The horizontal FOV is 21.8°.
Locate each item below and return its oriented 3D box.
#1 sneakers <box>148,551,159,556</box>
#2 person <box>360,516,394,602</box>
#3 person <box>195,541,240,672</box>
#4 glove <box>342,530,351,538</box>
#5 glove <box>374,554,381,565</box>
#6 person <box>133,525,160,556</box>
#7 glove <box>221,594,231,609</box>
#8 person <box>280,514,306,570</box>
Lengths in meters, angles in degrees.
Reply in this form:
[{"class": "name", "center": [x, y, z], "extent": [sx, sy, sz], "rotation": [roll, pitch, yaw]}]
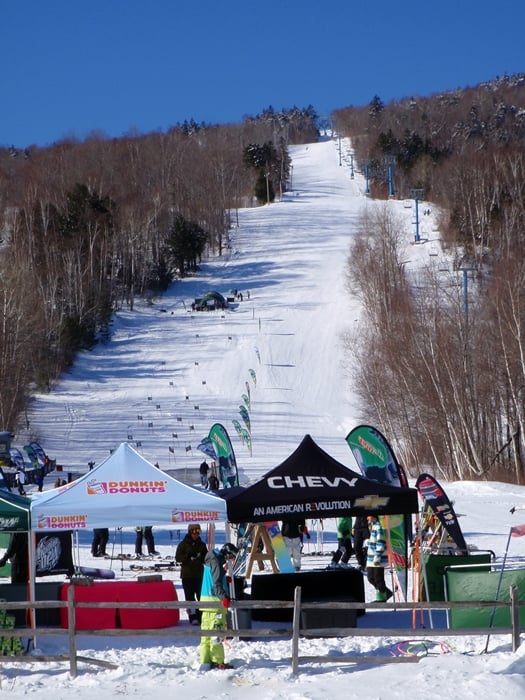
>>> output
[{"class": "sneakers", "center": [-2.214, 4.084, 27.518], "extent": [0.087, 0.089, 0.239], "rotation": [3, -6, -22]}, {"class": "person", "center": [1.930, 3.485, 22.598], "extent": [0.398, 1.075, 0.687], "rotation": [-3, 2, 5]}, {"class": "person", "center": [-0.658, 3.684, 19.852], "extent": [0.603, 1.429, 1.727], "rotation": [-3, 2, -2]}, {"class": "glove", "center": [1.550, 3.363, 25.172], "extent": [0.111, 0.145, 0.086], "rotation": [-3, -2, 3]}, {"class": "glove", "center": [1.903, 3.426, 22.399], "extent": [0.108, 0.270, 0.138], "rotation": [-3, -1, 5]}, {"class": "person", "center": [-2.362, 3.809, 27.603], "extent": [0.438, 0.541, 0.841], "rotation": [-4, 2, -5]}, {"class": "glove", "center": [-0.510, 3.546, 19.258], "extent": [0.130, 0.132, 0.157], "rotation": [-4, 2, -3]}, {"class": "person", "center": [0.578, 3.380, 24.707], "extent": [0.351, 0.287, 0.989], "rotation": [-5, 47, -1]}]
